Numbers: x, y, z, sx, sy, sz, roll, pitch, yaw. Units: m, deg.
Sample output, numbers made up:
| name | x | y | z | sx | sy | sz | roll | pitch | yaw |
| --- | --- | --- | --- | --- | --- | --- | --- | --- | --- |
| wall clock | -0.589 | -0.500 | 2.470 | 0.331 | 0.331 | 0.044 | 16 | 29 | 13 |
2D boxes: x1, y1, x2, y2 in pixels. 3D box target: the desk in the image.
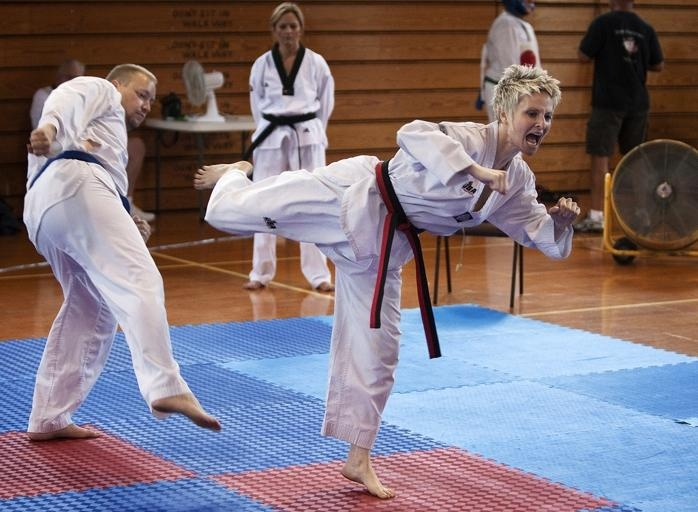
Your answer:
| name | x | y | z | sx | sy | sz | roll | pitch | yaw |
| --- | --- | --- | --- | --- | --- | --- | --- | --- | --- |
| desk | -1.636 | -1.059 | 9.245 | 1.300 | 1.133 | 1.290 | 2 | 1 | -30 |

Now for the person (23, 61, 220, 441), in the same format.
| name | x | y | z | sx | sy | sz | roll | pitch | yaw |
| --- | --- | --- | --- | --- | --- | --- | --- | --- | --- |
| person | -1.032 | 0.028 | 3.169 | 0.615 | 1.569 | 0.959 | -5 | 15 | -19 |
